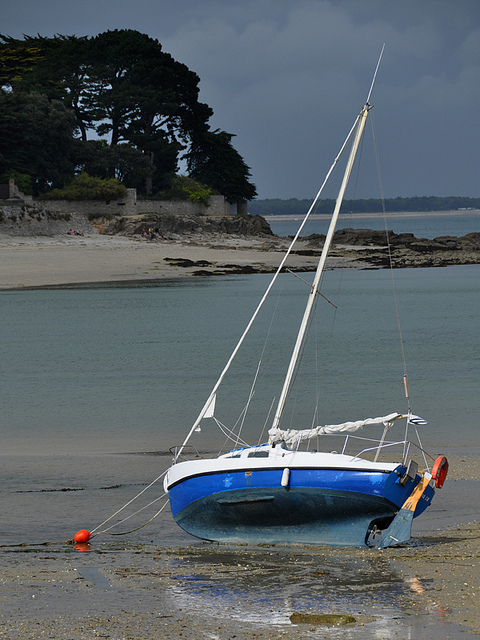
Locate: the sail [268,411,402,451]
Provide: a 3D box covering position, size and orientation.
[{"bbox_3d":[1.214,1.481,16.513,1.479,0.602,1.095,3,4,16],"label":"sail"}]

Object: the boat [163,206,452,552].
[{"bbox_3d":[0.792,1.112,16.678,3.295,3.712,1.172,0,-33,19],"label":"boat"}]
